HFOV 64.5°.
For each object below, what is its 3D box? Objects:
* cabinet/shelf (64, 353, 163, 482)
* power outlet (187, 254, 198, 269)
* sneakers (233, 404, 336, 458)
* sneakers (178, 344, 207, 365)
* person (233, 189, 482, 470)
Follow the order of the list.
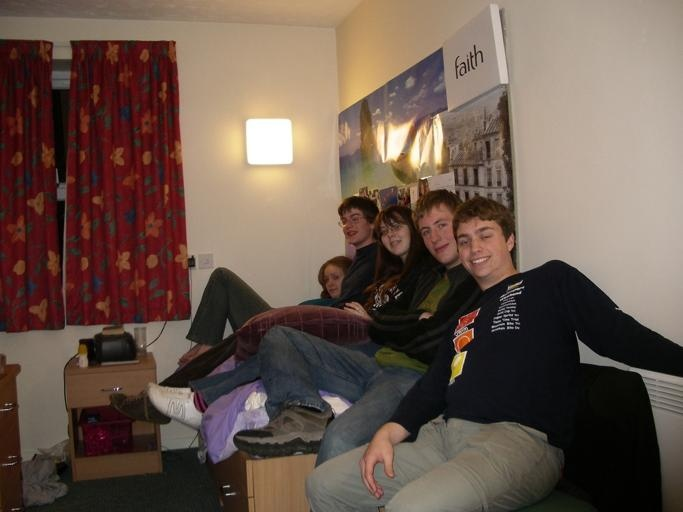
[{"bbox_3d":[-1.538,1.060,3.618,0.509,0.733,0.373,-3,2,-24],"label":"cabinet/shelf"},{"bbox_3d":[-1.153,0.042,4.136,0.098,0.151,0.075,0,-3,-20],"label":"power outlet"},{"bbox_3d":[-0.234,0.720,2.309,0.458,0.238,0.178,1,-8,-14],"label":"sneakers"},{"bbox_3d":[-0.995,0.655,3.580,0.179,0.066,0.104,-44,22,-2],"label":"sneakers"},{"bbox_3d":[0.151,0.487,2.567,0.958,1.686,0.671,12,-7,-5],"label":"person"}]
